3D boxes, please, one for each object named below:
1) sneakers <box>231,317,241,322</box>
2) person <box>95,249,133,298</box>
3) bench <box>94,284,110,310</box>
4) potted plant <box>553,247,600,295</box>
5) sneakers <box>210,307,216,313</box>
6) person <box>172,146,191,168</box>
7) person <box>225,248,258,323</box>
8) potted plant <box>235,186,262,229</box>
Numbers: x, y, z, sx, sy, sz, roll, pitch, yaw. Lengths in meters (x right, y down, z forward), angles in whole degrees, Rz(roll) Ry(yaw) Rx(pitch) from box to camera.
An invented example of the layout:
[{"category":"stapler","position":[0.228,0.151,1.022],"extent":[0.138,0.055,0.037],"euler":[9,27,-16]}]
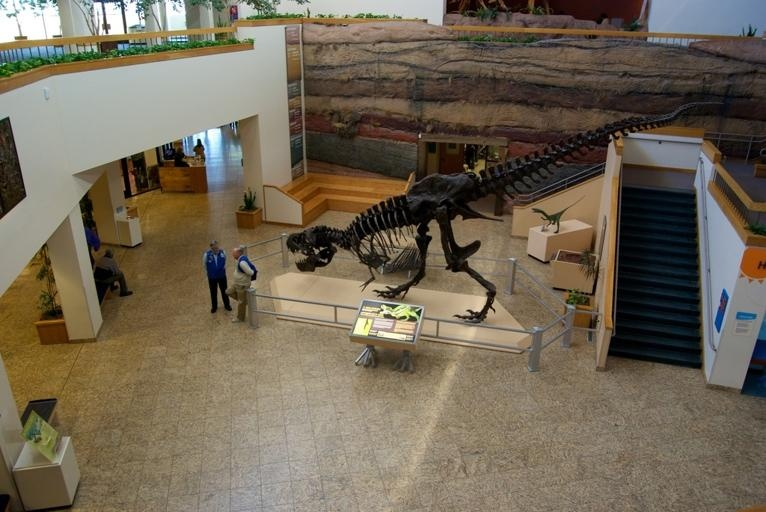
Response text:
[{"category":"sneakers","position":[-3.605,1.542,12.490],"extent":[0.222,0.085,0.085],"euler":[-1,41,-4]},{"category":"person","position":[-7.098,0.492,13.449],"extent":[0.637,1.177,0.829],"euler":[21,46,2]},{"category":"bench","position":[-7.123,0.847,13.024],"extent":[0.243,0.618,0.808],"euler":[-8,26,-19]},{"category":"potted plant","position":[5.261,0.337,13.907],"extent":[1.226,0.829,1.136],"euler":[7,22,24]},{"category":"sneakers","position":[-4.242,1.339,12.765],"extent":[0.067,0.107,0.160],"euler":[3,37,-2]},{"category":"person","position":[-7.869,-3.802,19.823],"extent":[0.526,0.500,1.152],"euler":[-8,26,-21]},{"category":"person","position":[-3.415,0.672,12.270],"extent":[0.708,1.823,0.761],"euler":[2,26,0]},{"category":"potted plant","position":[-4.538,-1.604,17.145],"extent":[0.760,1.124,0.955],"euler":[7,25,10]}]
